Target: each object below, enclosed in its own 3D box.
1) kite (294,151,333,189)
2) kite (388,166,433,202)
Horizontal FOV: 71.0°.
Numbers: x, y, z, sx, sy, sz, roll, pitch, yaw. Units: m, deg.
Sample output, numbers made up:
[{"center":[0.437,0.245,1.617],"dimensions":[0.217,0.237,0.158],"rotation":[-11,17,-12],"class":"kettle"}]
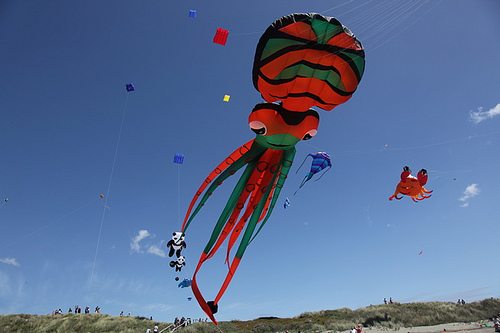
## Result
[{"center":[4.713,-0.385,25.155],"dimensions":[2.334,3.082,0.820],"rotation":[-18,-19,-39],"class":"kite"},{"center":[11.504,1.208,24.736],"dimensions":[2.367,2.108,0.491],"rotation":[9,4,17],"class":"kite"}]
